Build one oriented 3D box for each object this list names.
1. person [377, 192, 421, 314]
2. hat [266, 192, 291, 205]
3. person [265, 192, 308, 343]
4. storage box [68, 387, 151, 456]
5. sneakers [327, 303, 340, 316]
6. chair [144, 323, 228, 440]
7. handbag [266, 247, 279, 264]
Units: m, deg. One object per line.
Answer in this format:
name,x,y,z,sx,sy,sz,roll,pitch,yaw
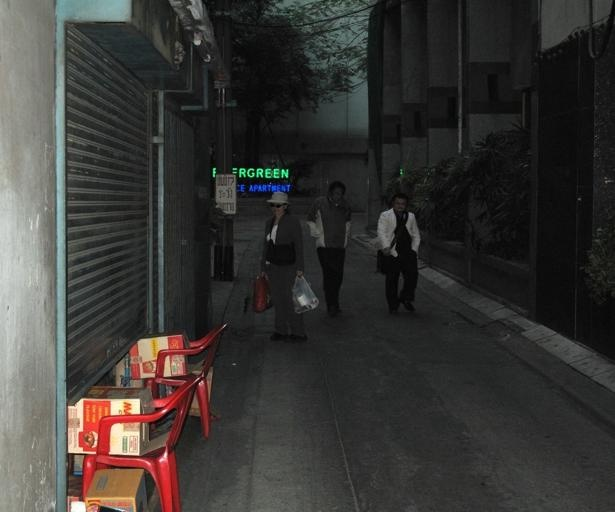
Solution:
person,1.734,-0.027,10.430,0.821,2.332,0.286,-1,5,-12
hat,-0.464,-0.894,8.440,0.276,0.206,0.802,-1,5,-3
person,-0.415,0.184,8.428,0.725,2.329,0.623,2,5,30
storage box,-1.418,1.110,3.710,0.497,0.403,0.328,0,10,-20
sneakers,0.496,1.064,10.361,0.116,0.168,0.329,-1,7,-3
chair,-1.072,1.104,4.797,0.553,0.920,0.603,1,-5,3
handbag,-0.582,-0.011,8.419,0.059,0.301,0.258,-4,6,-40
